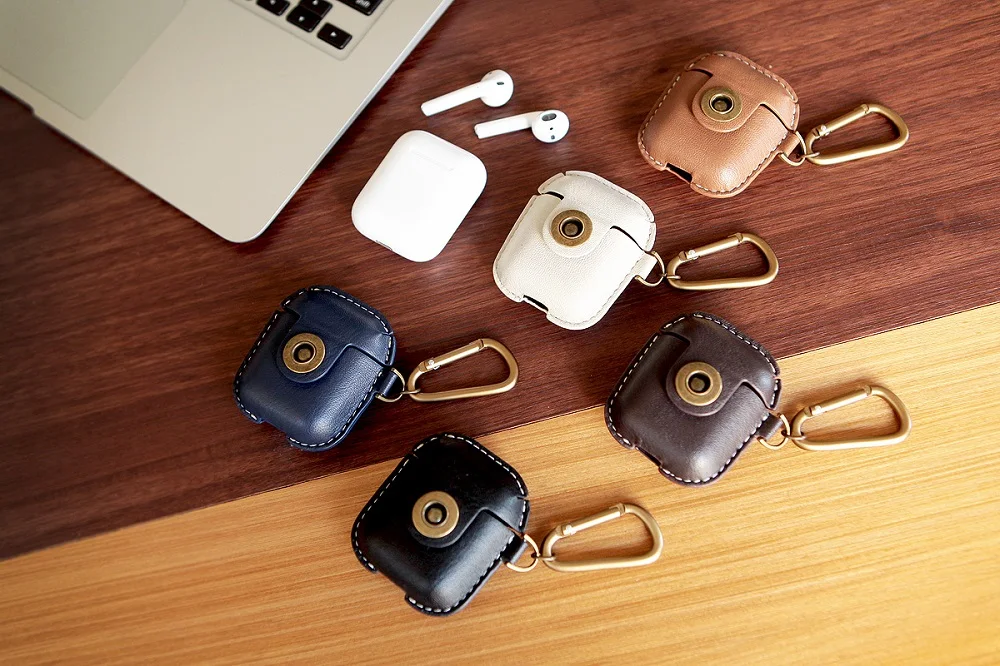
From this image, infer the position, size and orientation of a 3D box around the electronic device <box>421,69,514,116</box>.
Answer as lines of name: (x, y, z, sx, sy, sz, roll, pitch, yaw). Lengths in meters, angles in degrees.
electronic device: (-0.045, -0.360, 1.356, 0.130, 0.062, 0.040, -19, 0, 11)

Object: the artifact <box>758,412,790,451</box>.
artifact: (0.391, 0.140, 1.290, 0.046, 0.058, 0.014, 27, 12, -25)

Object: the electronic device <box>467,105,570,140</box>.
electronic device: (0.025, -0.317, 1.339, 0.132, 0.052, 0.034, -6, 4, 10)

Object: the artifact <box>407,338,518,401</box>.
artifact: (-0.055, 0.061, 1.295, 0.157, 0.082, 0.026, -14, -22, 2)

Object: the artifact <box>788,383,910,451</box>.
artifact: (0.511, 0.129, 1.265, 0.167, 0.114, 0.049, 13, 18, -10)

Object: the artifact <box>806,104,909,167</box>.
artifact: (0.526, -0.284, 1.321, 0.147, 0.083, 0.038, -28, -17, -2)

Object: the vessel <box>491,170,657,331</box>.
vessel: (0.117, -0.119, 1.303, 0.224, 0.207, 0.090, 17, 17, -1)
